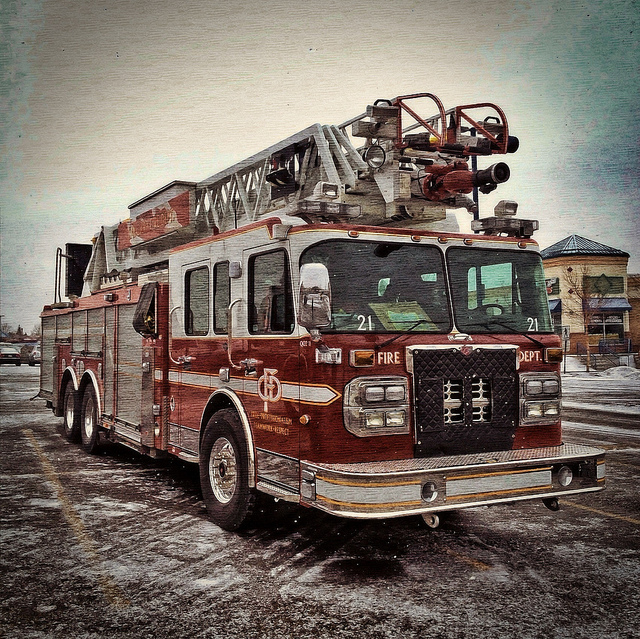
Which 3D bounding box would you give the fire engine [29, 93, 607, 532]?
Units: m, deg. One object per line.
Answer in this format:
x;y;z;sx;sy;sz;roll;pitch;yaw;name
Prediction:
-0.945;0.039;8.690;3.035;3.219;9.074;0;-2;-30;fire engine

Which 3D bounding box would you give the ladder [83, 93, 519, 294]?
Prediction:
-0.779;-1.574;9.246;2.183;1.473;8.747;0;-1;-30;ladder

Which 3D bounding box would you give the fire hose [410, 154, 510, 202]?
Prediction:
1.159;-1.212;6.085;0.361;0.377;0.863;-6;8;-37;fire hose
